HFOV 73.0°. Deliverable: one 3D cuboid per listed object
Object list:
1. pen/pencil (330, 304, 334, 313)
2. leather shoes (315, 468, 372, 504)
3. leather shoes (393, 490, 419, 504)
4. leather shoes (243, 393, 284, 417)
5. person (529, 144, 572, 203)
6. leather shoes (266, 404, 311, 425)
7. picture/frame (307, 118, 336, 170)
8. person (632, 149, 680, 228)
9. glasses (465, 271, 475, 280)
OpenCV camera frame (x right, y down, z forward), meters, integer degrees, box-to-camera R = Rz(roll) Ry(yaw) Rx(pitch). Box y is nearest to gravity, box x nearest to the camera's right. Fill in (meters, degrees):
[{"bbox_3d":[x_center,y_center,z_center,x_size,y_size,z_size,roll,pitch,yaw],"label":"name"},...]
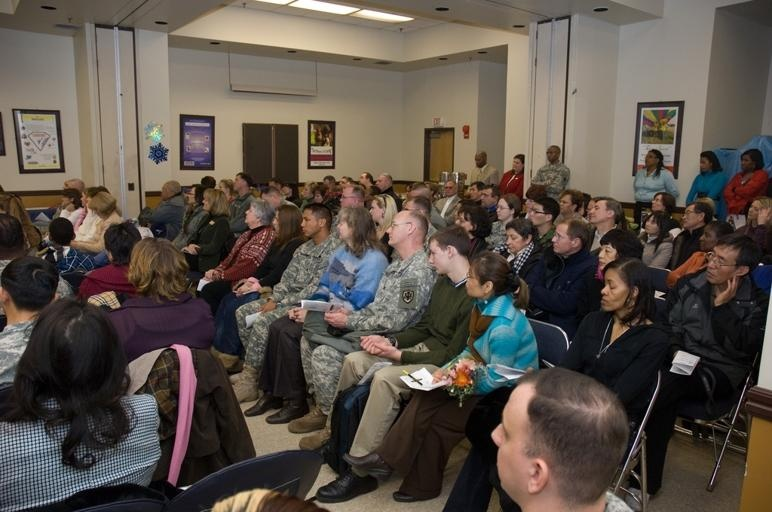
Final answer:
[{"bbox_3d":[-0.445,0.419,4.118,0.017,0.065,0.017,12,-2,-17],"label":"pen/pencil"},{"bbox_3d":[-0.275,1.453,3.369,0.364,0.161,0.145,0,12,-23],"label":"leather shoes"},{"bbox_3d":[0.113,1.518,3.300,0.123,0.047,0.070,0,3,0],"label":"leather shoes"},{"bbox_3d":[-1.012,1.207,4.300,0.352,0.154,0.116,-3,11,-28],"label":"leather shoes"},{"bbox_3d":[2.663,-1.221,8.414,0.573,1.030,0.513,9,15,44],"label":"person"},{"bbox_3d":[-0.802,1.258,4.199,0.362,0.160,0.124,-3,19,-24],"label":"leather shoes"},{"bbox_3d":[-1.605,-2.656,12.561,0.771,1.126,0.079,-8,14,-36],"label":"picture/frame"},{"bbox_3d":[4.302,-0.875,8.399,0.460,1.530,0.694,-5,14,-33],"label":"person"},{"bbox_3d":[0.528,0.129,3.281,0.043,0.053,0.051,-5,7,7],"label":"glasses"}]
